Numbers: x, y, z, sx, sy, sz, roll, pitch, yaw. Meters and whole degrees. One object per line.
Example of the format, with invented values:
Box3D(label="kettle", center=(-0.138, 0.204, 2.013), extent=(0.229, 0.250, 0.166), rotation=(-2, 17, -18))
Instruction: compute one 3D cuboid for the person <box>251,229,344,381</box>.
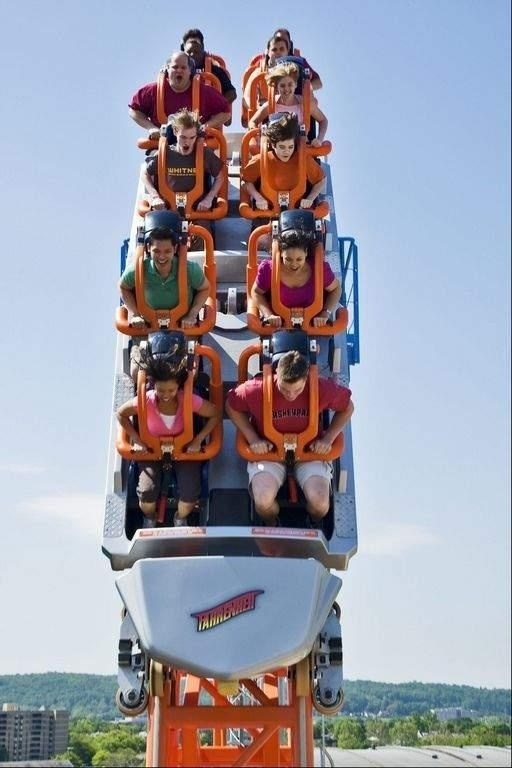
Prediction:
Box3D(label="person", center=(0.365, -0.642, 12.694), extent=(0.878, 1.482, 0.371), rotation=(-1, 7, 0))

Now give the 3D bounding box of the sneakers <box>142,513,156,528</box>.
Box3D(label="sneakers", center=(-0.913, 1.176, 12.422), extent=(0.111, 0.174, 0.091), rotation=(5, -25, -12))

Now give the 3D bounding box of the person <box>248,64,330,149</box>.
Box3D(label="person", center=(0.344, -2.861, 15.140), extent=(0.617, 1.064, 0.523), rotation=(1, 1, 7))

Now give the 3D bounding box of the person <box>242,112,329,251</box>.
Box3D(label="person", center=(0.295, -2.051, 14.388), extent=(0.834, 0.730, 1.367), rotation=(0, -58, -2))

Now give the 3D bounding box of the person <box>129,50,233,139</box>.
Box3D(label="person", center=(-0.831, -2.974, 15.492), extent=(0.983, 1.104, 0.652), rotation=(1, -9, -3))

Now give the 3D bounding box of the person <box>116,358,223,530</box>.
Box3D(label="person", center=(-0.729, 0.540, 12.227), extent=(0.672, 1.503, 0.808), rotation=(1, 30, -2))

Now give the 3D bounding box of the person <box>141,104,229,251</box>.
Box3D(label="person", center=(-0.700, -2.056, 14.144), extent=(0.690, 1.159, 0.601), rotation=(2, 6, 0))

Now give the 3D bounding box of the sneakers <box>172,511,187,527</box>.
Box3D(label="sneakers", center=(-0.639, 1.146, 12.426), extent=(0.137, 0.166, 0.071), rotation=(0, 5, 5))

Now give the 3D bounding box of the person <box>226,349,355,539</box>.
Box3D(label="person", center=(0.326, 0.489, 12.288), extent=(0.848, 1.277, 0.981), rotation=(-14, -20, 41))

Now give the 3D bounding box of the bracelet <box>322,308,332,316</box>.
Box3D(label="bracelet", center=(0.650, -0.627, 12.818), extent=(0.063, 0.058, 0.079), rotation=(0, 1, -4))
